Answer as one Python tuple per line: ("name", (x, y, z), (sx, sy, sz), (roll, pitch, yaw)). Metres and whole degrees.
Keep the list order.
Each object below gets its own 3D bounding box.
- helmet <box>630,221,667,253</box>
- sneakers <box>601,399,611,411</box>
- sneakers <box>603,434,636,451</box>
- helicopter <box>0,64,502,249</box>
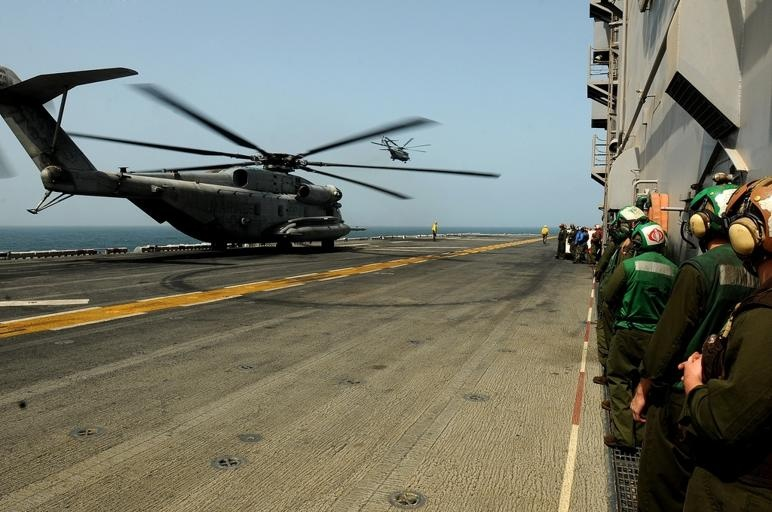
("helmet", (3.446, -0.247, 5.272), (0.414, 0.425, 0.449), (6, 1, 5))
("sneakers", (2.993, 2.034, 5.437), (0.070, 0.060, 0.175), (2, 5, 20))
("sneakers", (2.657, 2.155, 4.552), (0.121, 0.100, 0.255), (-10, 25, -36))
("helicopter", (-9.155, -4.070, 20.697), (3.353, 7.167, 14.986), (9, 10, 42))
